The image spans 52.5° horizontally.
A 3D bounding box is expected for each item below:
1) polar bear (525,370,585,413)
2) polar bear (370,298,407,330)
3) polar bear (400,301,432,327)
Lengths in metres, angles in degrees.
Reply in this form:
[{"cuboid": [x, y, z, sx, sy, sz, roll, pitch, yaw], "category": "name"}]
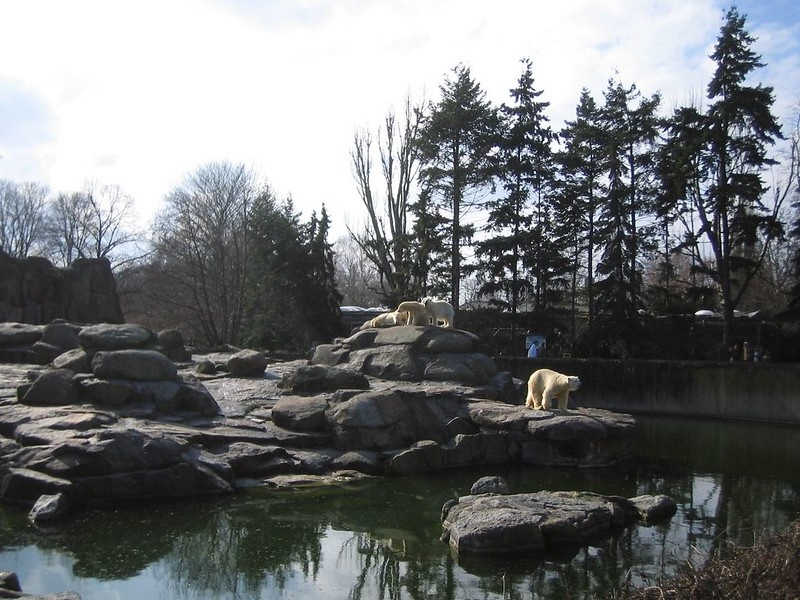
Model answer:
[{"cuboid": [3.107, 1.898, 16.829, 0.628, 0.922, 1.291, -2, 11, -18], "category": "polar bear"}, {"cuboid": [-0.325, 0.458, 21.088, 1.218, 0.410, 0.675, -19, -48, 14], "category": "polar bear"}, {"cuboid": [0.350, 0.357, 20.404, 0.797, 0.591, 0.406, 2, 10, 6], "category": "polar bear"}]
